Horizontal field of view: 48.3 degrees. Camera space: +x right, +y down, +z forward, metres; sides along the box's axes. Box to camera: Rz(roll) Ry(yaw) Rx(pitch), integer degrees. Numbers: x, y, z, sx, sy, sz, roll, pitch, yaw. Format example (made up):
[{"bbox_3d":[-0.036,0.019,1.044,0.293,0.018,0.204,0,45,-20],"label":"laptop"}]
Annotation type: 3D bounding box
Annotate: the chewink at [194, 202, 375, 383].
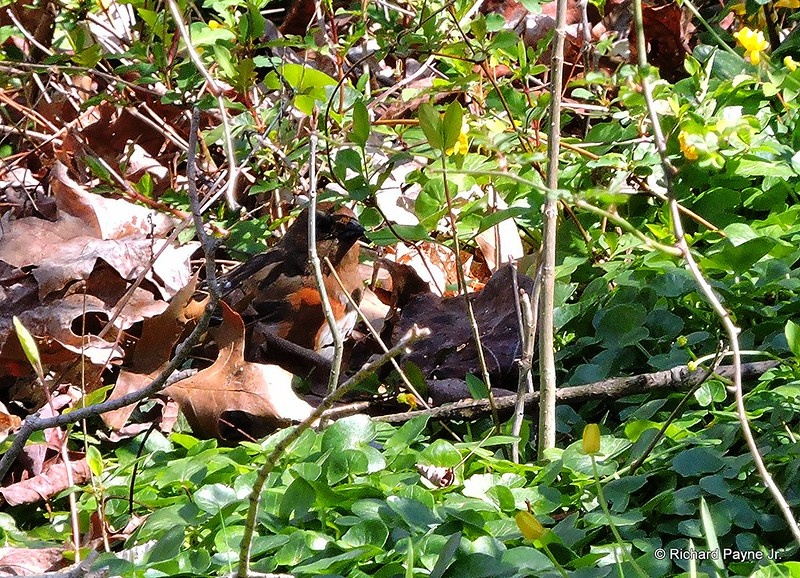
[{"bbox_3d":[-0.408,-0.002,3.571,0.859,0.714,0.509,4,18,-11],"label":"chewink"}]
